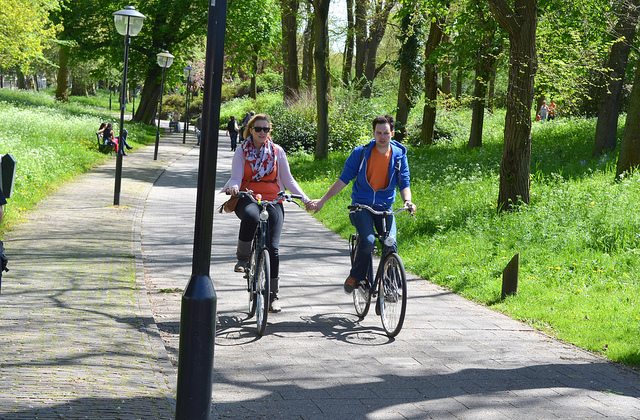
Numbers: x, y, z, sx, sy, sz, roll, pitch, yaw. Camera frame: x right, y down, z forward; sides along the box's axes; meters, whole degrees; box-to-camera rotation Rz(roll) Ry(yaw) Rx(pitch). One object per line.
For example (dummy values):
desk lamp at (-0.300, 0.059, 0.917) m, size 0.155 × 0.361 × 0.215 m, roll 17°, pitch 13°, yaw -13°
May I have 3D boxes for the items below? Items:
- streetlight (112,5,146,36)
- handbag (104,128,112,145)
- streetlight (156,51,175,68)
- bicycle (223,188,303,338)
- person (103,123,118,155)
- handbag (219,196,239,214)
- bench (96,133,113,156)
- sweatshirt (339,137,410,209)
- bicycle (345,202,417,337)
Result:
streetlight at (-4.818, -4.800, 19.371) m, size 0.587 × 0.728 × 0.606 m, roll 11°, pitch 14°, yaw 23°
handbag at (-8.326, -2.714, 29.955) m, size 0.229 × 0.414 × 0.241 m, roll 3°, pitch -4°, yaw -13°
streetlight at (-6.291, -6.135, 31.181) m, size 0.779 × 0.781 × 0.778 m, roll 2°, pitch 0°, yaw -1°
bicycle at (-0.983, 0.767, 11.991) m, size 0.951 × 2.116 × 1.295 m, roll 6°, pitch 13°, yaw 5°
person at (-8.246, -2.975, 30.024) m, size 0.503 × 0.936 × 1.277 m, roll 1°, pitch 13°, yaw -15°
handbag at (-1.431, -0.077, 12.212) m, size 0.209 × 0.318 × 0.321 m, roll 30°, pitch -6°, yaw -6°
bench at (-8.466, -2.548, 30.132) m, size 0.575 × 0.773 × 0.554 m, roll 1°, pitch 14°, yaw -18°
sweatshirt at (0.926, -0.603, 12.373) m, size 1.175 × 1.137 × 0.584 m, roll 7°, pitch 18°, yaw -3°
bicycle at (0.976, 0.914, 12.055) m, size 0.628 × 2.001 × 1.505 m, roll -4°, pitch 16°, yaw -34°
